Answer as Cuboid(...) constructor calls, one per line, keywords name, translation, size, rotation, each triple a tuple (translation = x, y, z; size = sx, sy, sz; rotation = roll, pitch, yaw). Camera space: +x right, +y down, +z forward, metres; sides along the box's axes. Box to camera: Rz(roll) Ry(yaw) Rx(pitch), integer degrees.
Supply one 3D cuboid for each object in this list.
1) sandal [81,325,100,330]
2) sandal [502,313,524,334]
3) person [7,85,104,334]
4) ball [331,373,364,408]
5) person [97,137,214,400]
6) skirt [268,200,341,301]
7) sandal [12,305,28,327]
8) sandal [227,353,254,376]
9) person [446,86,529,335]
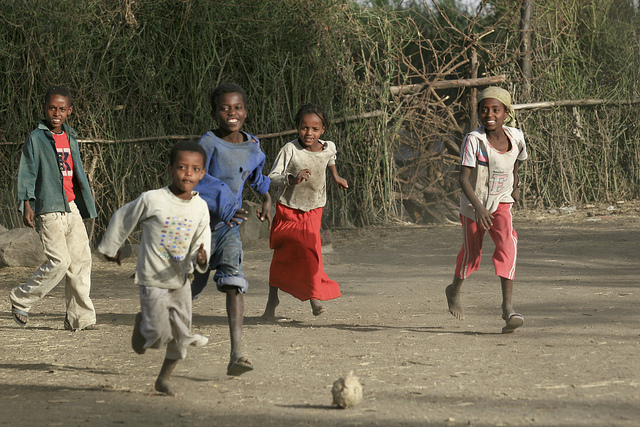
Cuboid(name="sandal", translation=(-2.502, 1.236, 9.396), size=(0.157, 0.059, 0.038), rotation=(-10, 17, -33))
Cuboid(name="sandal", translation=(2.024, 1.142, 8.960), size=(0.222, 0.240, 0.187), rotation=(-6, 15, -15))
Cuboid(name="person", translation=(-2.960, -0.048, 9.368), size=(0.934, 2.602, 0.925), rotation=(-4, 15, -7))
Cuboid(name="ball", translation=(0.223, 1.529, 7.630), size=(0.272, 0.263, 0.282), rotation=(0, 12, 0))
Cuboid(name="person", translation=(-1.428, 0.469, 7.970), size=(0.749, 2.242, 0.854), rotation=(9, 19, 35))
Cuboid(name="skirt", translation=(-0.186, 0.408, 9.747), size=(0.804, 1.080, 0.526), rotation=(1, 15, 10))
Cuboid(name="sandal", translation=(-3.276, 1.098, 9.339), size=(0.110, 0.258, 0.078), rotation=(-26, 10, -36))
Cuboid(name="sandal", translation=(-0.761, 1.415, 7.995), size=(0.162, 0.194, 0.203), rotation=(-13, 18, -38))
Cuboid(name="person", translation=(1.764, -0.054, 9.159), size=(0.806, 2.512, 1.080), rotation=(1, 15, 12))
